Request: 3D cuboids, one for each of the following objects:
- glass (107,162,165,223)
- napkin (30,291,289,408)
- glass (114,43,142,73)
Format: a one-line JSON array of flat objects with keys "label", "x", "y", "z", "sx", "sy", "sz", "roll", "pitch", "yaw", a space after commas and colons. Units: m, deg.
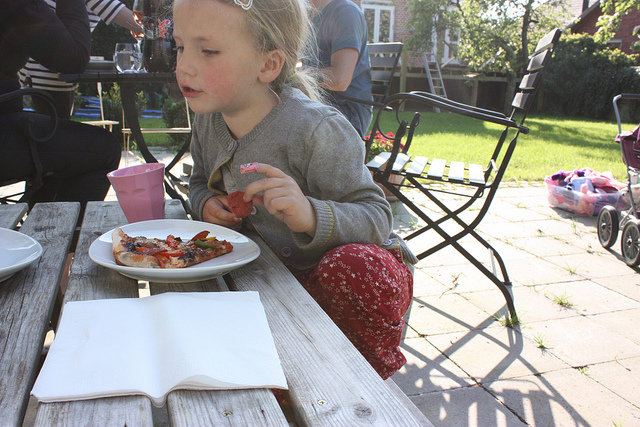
[{"label": "glass", "x": -0.725, "y": -0.103, "z": 1.773, "sx": 0.214, "sy": 0.244, "sz": 0.197, "roll": 7, "pitch": 11, "yaw": 37}, {"label": "napkin", "x": -0.359, "y": 0.303, "z": 1.038, "sx": 0.530, "sy": 0.108, "sz": 0.310, "roll": 1, "pitch": 20, "yaw": -11}, {"label": "glass", "x": -1.351, "y": -1.104, "z": 3.110, "sx": 0.219, "sy": 0.219, "sz": 0.169, "roll": 10, "pitch": 21, "yaw": 13}]
